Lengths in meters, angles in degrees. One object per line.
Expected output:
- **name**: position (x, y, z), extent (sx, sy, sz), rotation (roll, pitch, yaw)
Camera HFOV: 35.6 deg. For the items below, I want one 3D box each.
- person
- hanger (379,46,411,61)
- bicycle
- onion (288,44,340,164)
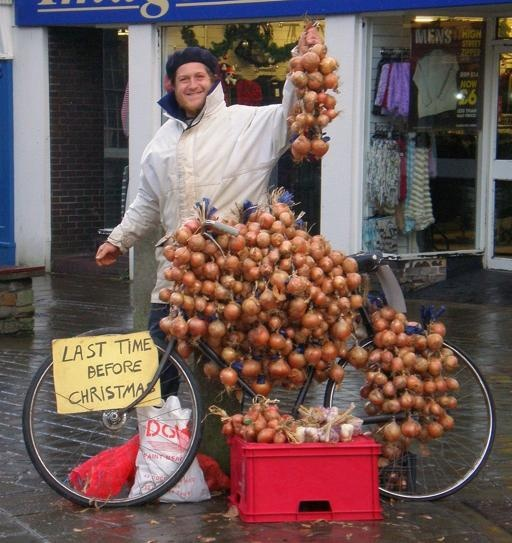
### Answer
- **person**: position (-0.275, -0.258, 3.873), extent (1.078, 2.049, 0.748), rotation (0, 2, 5)
- **hanger**: position (1.641, -2.530, 9.321), extent (0.288, 0.068, 0.195), rotation (0, 1, -18)
- **bicycle**: position (0.148, 0.585, 3.777), extent (2.444, 0.954, 0.511), rotation (6, -15, -23)
- **onion**: position (0.236, -0.710, 3.362), extent (0.237, 0.464, 0.203), rotation (1, 17, -10)
